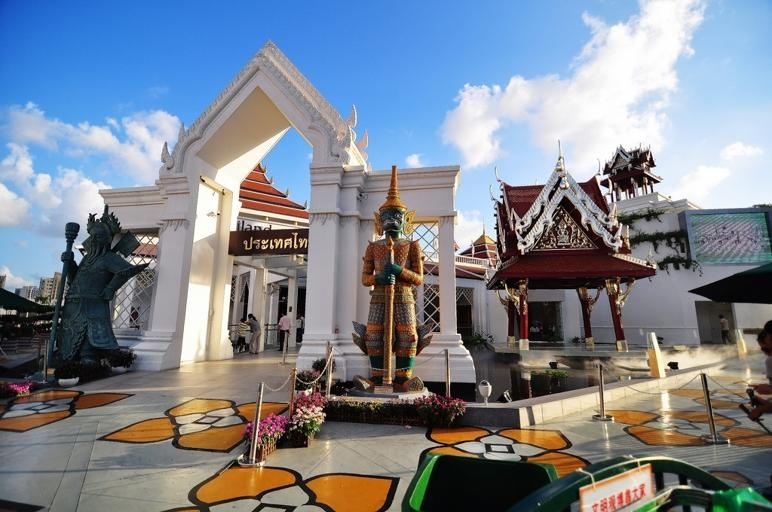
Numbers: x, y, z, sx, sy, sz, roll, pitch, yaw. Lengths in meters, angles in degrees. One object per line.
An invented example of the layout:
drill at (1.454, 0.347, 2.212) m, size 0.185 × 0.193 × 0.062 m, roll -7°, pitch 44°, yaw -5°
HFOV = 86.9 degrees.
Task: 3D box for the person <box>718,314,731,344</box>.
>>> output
person at (13.991, 3.035, 16.725) m, size 0.338 × 1.088 × 1.048 m, roll 2°, pitch 3°, yaw 40°

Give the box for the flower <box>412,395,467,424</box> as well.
flower at (0.880, 2.458, 6.669) m, size 0.539 × 0.294 × 0.517 m, roll -1°, pitch 1°, yaw 7°

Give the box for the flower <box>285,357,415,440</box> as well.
flower at (-0.824, 2.436, 7.083) m, size 1.948 × 0.591 × 2.400 m, roll -2°, pitch 4°, yaw -32°

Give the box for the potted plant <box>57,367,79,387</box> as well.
potted plant at (-6.429, 2.440, 8.273) m, size 0.372 × 0.223 × 0.376 m, roll -2°, pitch 0°, yaw -3°

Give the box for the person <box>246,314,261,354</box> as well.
person at (-4.313, 2.587, 13.438) m, size 0.369 × 1.240 × 0.789 m, roll 0°, pitch 2°, yaw -16°

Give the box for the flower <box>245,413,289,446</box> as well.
flower at (-1.664, 2.484, 5.758) m, size 0.487 × 0.226 × 0.736 m, roll 6°, pitch -16°, yaw -13°
